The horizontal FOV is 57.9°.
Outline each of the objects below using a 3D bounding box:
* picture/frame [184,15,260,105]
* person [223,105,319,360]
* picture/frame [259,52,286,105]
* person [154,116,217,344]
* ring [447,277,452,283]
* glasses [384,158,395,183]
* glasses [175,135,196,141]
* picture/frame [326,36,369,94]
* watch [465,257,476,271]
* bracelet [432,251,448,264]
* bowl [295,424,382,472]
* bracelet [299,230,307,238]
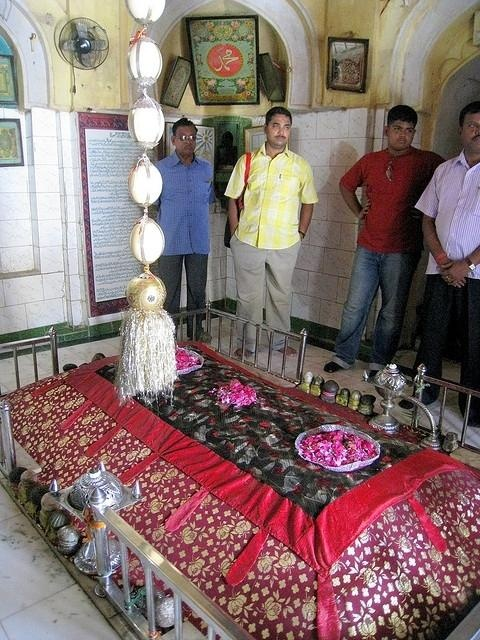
[{"bbox_3d":[-0.178,-2.797,4.643,0.996,1.006,0.110,6,48,4],"label":"picture/frame"},{"bbox_3d":[0.278,-0.865,4.068,0.843,1.978,0.415,2,17,-2],"label":"person"},{"bbox_3d":[0.350,-2.647,4.798,0.316,0.474,0.254,3,17,0],"label":"picture/frame"},{"bbox_3d":[-0.543,-0.975,4.375,0.560,1.845,0.374,-2,18,-15],"label":"person"},{"bbox_3d":[1.454,-0.277,3.014,0.027,0.034,0.031,-18,12,25],"label":"ring"},{"bbox_3d":[1.239,-1.227,3.602,0.044,0.097,0.140,4,-14,-9],"label":"glasses"},{"bbox_3d":[-0.508,-1.673,4.038,0.175,0.065,0.080,-2,17,-15],"label":"glasses"},{"bbox_3d":[0.974,-2.291,3.892,0.503,0.537,0.039,7,26,6],"label":"picture/frame"},{"bbox_3d":[1.553,-0.378,2.900,0.051,0.068,0.079,-3,16,36],"label":"watch"},{"bbox_3d":[1.400,-0.435,3.035,0.079,0.078,0.077,-12,8,16],"label":"bracelet"},{"bbox_3d":[0.380,0.522,1.737,0.294,0.060,0.339,-17,10,-4],"label":"bowl"},{"bbox_3d":[0.602,-0.815,4.169,0.072,0.092,0.049,0,13,16],"label":"bracelet"}]
